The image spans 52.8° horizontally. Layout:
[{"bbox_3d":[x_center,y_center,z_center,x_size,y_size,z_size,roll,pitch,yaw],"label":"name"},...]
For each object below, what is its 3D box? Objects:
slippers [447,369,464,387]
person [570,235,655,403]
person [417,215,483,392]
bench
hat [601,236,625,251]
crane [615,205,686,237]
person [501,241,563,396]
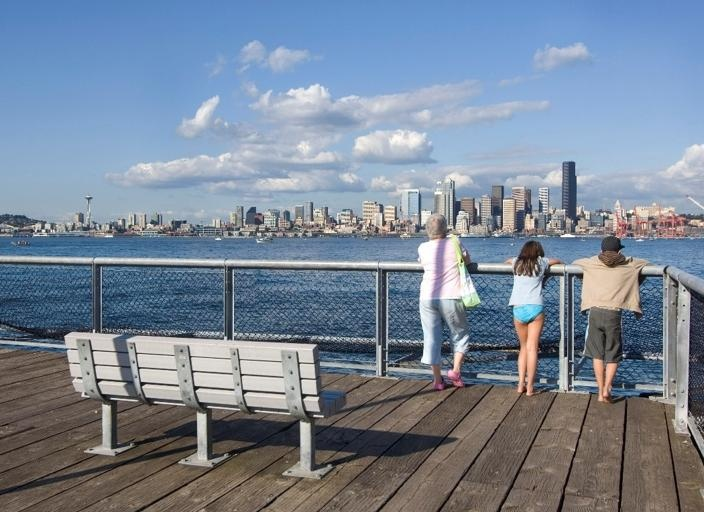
[{"bbox_3d":[1.059,1.262,7.339,0.132,0.100,0.283,-18,-16,-1],"label":"slippers"},{"bbox_3d":[2.524,0.571,6.862,0.808,1.445,0.480,3,-3,32],"label":"person"},{"bbox_3d":[0.961,0.463,7.245,0.569,1.804,0.532,0,10,4],"label":"person"},{"bbox_3d":[-1.130,1.101,5.471,2.180,0.898,0.649,-1,-4,22],"label":"bench"},{"bbox_3d":[2.494,-0.133,6.851,0.162,0.113,0.225,3,15,27],"label":"hat"},{"bbox_3d":[100.194,-10.292,239.242,13.873,9.728,25.507,-1,9,-7],"label":"crane"},{"bbox_3d":[1.802,0.628,7.206,0.511,1.629,0.672,2,10,14],"label":"person"}]
